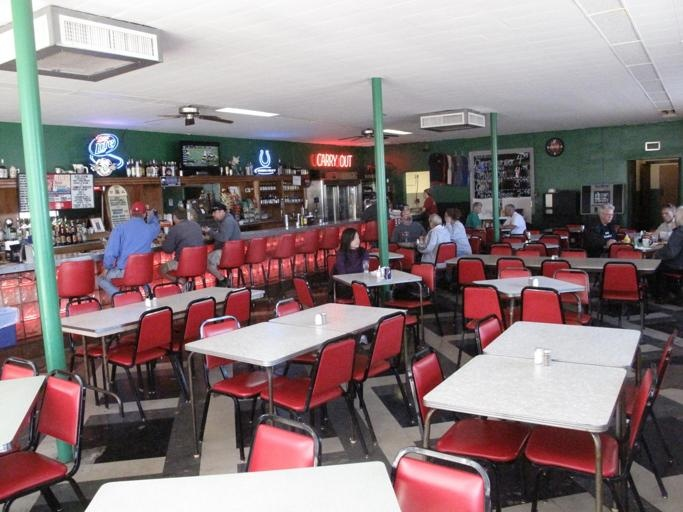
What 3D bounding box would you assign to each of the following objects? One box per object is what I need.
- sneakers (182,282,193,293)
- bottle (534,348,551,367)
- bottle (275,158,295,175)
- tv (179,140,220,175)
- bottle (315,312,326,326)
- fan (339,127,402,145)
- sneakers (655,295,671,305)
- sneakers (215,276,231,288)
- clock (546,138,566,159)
[{"bbox_3d":[-2.284,0.461,7.719,0.130,0.234,0.131,14,14,43],"label":"sneakers"},{"bbox_3d":[1.316,0.662,3.407,0.121,0.116,0.068,3,4,31],"label":"bottle"},{"bbox_3d":[-1.433,-2.346,13.675,0.339,0.444,0.800,4,11,33],"label":"bottle"},{"bbox_3d":[-3.066,-2.114,11.265,0.240,0.682,1.011,4,11,32],"label":"tv"},{"bbox_3d":[-0.163,0.544,4.537,0.067,0.109,0.112,7,16,24],"label":"bottle"},{"bbox_3d":[0.746,-2.983,13.031,1.261,0.237,1.339,-9,11,-32],"label":"fan"},{"bbox_3d":[4.881,0.667,7.915,0.159,0.091,0.160,1,7,25],"label":"sneakers"},{"bbox_3d":[-2.023,0.452,8.945,0.204,0.193,0.203,1,5,8],"label":"sneakers"},{"bbox_3d":[5.789,-2.931,14.062,0.468,0.516,0.131,0,10,15],"label":"clock"}]
